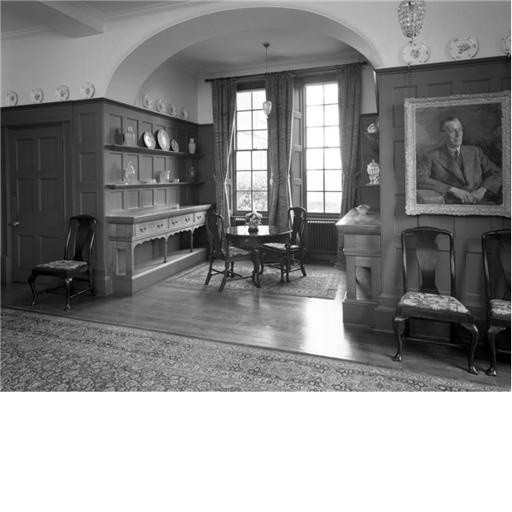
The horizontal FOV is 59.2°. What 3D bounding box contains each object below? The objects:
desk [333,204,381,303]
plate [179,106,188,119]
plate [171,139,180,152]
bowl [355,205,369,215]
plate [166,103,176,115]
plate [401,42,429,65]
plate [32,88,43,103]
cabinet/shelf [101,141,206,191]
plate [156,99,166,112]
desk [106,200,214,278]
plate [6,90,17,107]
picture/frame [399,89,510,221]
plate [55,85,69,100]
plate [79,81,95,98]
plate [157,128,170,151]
[{"bbox_3d":[1.085,-0.018,4.728,0.388,0.745,1.248,1,9,12],"label":"desk"},{"bbox_3d":[-1.240,-2.434,7.697,0.046,0.185,0.163,10,15,33],"label":"plate"},{"bbox_3d":[-1.325,-1.836,7.455,0.047,0.186,0.193,-7,49,19],"label":"plate"},{"bbox_3d":[1.280,-0.553,5.469,0.172,0.106,0.172,-2,0,0],"label":"bowl"},{"bbox_3d":[-1.384,-2.397,7.380,0.076,0.198,0.238,2,10,14],"label":"plate"},{"bbox_3d":[1.351,-1.704,3.774,0.206,0.199,0.053,8,-2,20],"label":"plate"},{"bbox_3d":[-2.772,-2.019,5.664,0.187,0.183,0.055,4,11,26],"label":"plate"},{"bbox_3d":[-1.456,-1.319,6.794,0.386,0.543,2.865,1,10,9],"label":"cabinet/shelf"},{"bbox_3d":[-1.480,-2.313,6.946,0.053,0.188,0.138,14,24,28],"label":"plate"},{"bbox_3d":[-1.459,-0.286,6.413,0.436,0.802,1.896,2,10,14],"label":"desk"},{"bbox_3d":[-3.190,-2.034,5.891,0.202,0.196,0.046,20,3,17],"label":"plate"},{"bbox_3d":[1.667,-0.844,3.664,1.146,1.331,0.100,1,9,24],"label":"picture/frame"},{"bbox_3d":[-2.381,-2.001,5.509,0.180,0.181,0.053,3,10,19],"label":"plate"},{"bbox_3d":[-2.040,-1.994,5.404,0.198,0.182,0.054,4,11,25],"label":"plate"},{"bbox_3d":[-1.465,-1.816,7.031,0.074,0.311,0.316,-3,-3,20],"label":"plate"}]
